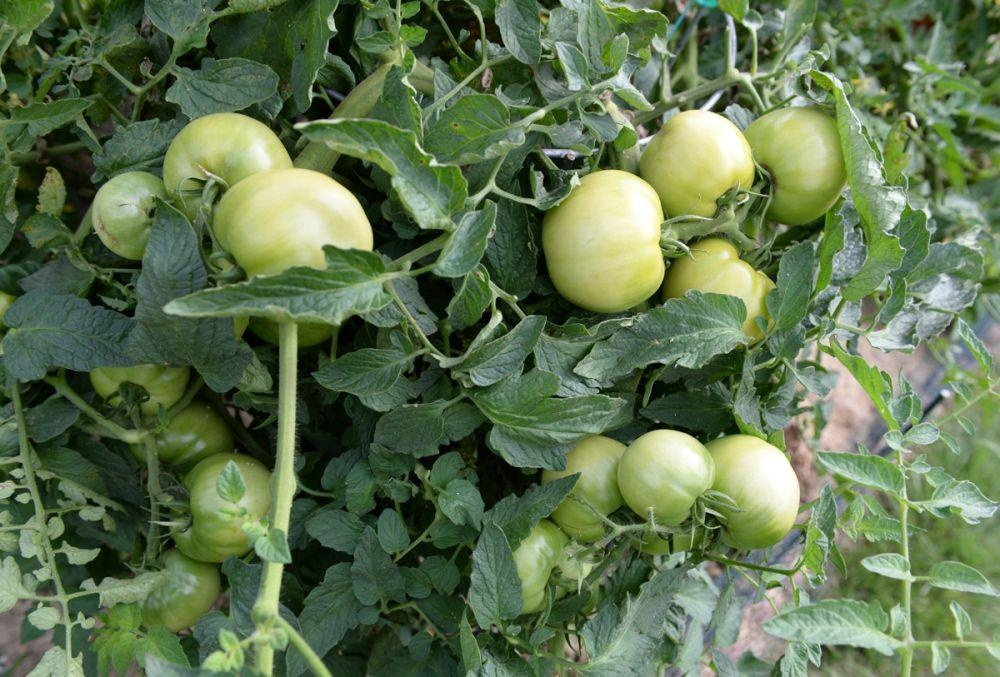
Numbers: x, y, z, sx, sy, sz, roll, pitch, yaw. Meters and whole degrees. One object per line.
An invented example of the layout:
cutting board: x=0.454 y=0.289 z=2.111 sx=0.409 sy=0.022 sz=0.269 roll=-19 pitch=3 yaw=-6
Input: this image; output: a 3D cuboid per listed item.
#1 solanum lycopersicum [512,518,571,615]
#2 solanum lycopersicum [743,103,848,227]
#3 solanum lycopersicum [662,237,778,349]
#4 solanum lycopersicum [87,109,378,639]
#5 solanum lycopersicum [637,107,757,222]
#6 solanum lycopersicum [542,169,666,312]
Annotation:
solanum lycopersicum: x=0.041 y=0.277 z=1.156 sx=0.057 sy=0.046 sz=0.114 roll=22 pitch=77 yaw=4
solanum lycopersicum: x=0.378 y=-0.233 z=1.237 sx=0.139 sy=0.142 sz=0.169 roll=-8 pitch=100 yaw=33
solanum lycopersicum: x=0.275 y=-0.079 z=1.242 sx=0.128 sy=0.138 sz=0.136 roll=35 pitch=108 yaw=16
solanum lycopersicum: x=-0.311 y=0.071 z=1.117 sx=0.334 sy=0.201 sz=0.628 roll=-3 pitch=97 yaw=-11
solanum lycopersicum: x=0.240 y=-0.215 z=1.230 sx=0.135 sy=0.129 sz=0.136 roll=-30 pitch=85 yaw=21
solanum lycopersicum: x=0.121 y=-0.115 z=1.196 sx=0.143 sy=0.162 sz=0.155 roll=-17 pitch=122 yaw=8
